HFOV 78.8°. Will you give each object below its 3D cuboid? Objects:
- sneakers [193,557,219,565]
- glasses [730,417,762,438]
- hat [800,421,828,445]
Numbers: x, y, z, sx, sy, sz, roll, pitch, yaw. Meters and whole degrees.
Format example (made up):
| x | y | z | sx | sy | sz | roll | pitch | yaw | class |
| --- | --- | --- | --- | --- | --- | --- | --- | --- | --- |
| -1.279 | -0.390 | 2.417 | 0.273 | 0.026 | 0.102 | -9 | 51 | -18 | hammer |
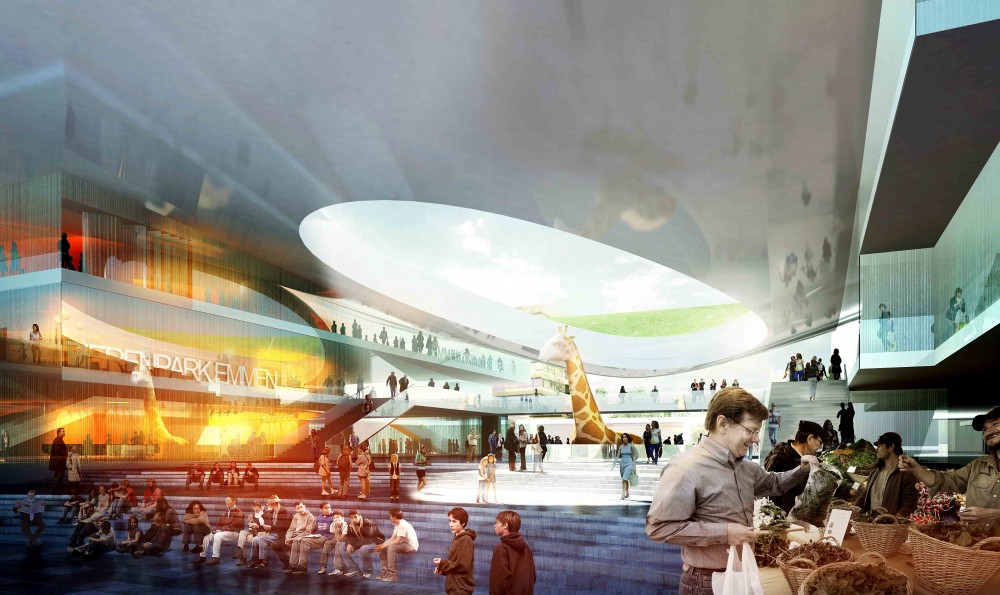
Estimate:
| x | y | z | sx | sy | sz | roll | pitch | yaw | class |
| --- | --- | --- | --- | --- | --- | --- | --- | --- | --- |
| -7.046 | 6.350 | 14.682 | 0.621 | 0.249 | 0.207 | -2 | -11 | 7 | sneakers |
| 2.233 | 1.171 | 5.498 | 0.185 | 0.066 | 0.219 | 26 | -14 | -33 | glasses |
| 3.673 | 1.569 | 7.063 | 0.296 | 0.244 | 0.233 | 2 | -7 | -22 | hat |
